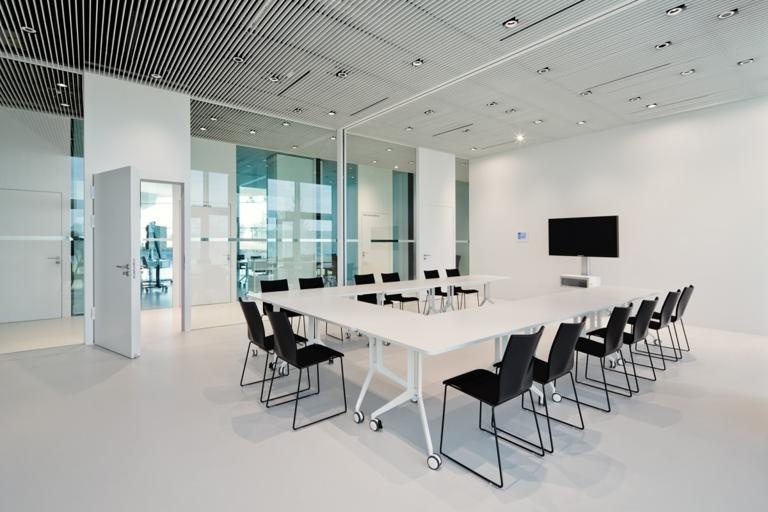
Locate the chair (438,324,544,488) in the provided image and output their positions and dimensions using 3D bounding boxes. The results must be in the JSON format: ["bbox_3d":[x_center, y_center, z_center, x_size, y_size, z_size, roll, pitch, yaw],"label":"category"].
[{"bbox_3d":[1.250,1.595,5.327,1.017,1.559,1.046,-3,7,-36],"label":"chair"}]

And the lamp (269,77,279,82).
[{"bbox_3d":[-1.840,-2.970,7.804,0.146,0.047,0.177,-3,3,-15],"label":"lamp"}]

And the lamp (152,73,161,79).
[{"bbox_3d":[-3.763,-2.989,7.728,0.144,0.053,0.205,-4,4,-26],"label":"lamp"}]

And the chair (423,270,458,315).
[{"bbox_3d":[1.242,0.743,9.844,0.798,1.108,0.780,0,-1,-36],"label":"chair"}]

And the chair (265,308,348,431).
[{"bbox_3d":[-0.999,1.368,5.928,0.900,1.330,0.906,3,9,38],"label":"chair"}]

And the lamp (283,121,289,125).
[{"bbox_3d":[-1.994,-2.730,9.550,0.128,0.044,0.149,-2,3,-4],"label":"lamp"}]

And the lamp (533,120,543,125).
[{"bbox_3d":[3.153,-2.753,9.547,0.177,0.043,0.259,-1,3,13],"label":"lamp"}]

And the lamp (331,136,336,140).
[{"bbox_3d":[-1.127,-2.617,10.328,0.131,0.079,0.050,-3,4,-10],"label":"lamp"}]

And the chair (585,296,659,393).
[{"bbox_3d":[3.335,1.294,6.595,0.527,0.798,1.203,3,4,42],"label":"chair"}]

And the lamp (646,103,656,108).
[{"bbox_3d":[4.960,-2.796,8.645,0.176,0.046,0.241,0,4,35],"label":"lamp"}]

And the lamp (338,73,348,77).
[{"bbox_3d":[-0.687,-3.021,7.718,0.162,0.042,0.153,-2,3,-4],"label":"lamp"}]

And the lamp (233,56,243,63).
[{"bbox_3d":[-2.270,-3.081,7.287,0.155,0.051,0.215,-4,4,-28],"label":"lamp"}]

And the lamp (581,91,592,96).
[{"bbox_3d":[3.554,-2.875,8.190,0.182,0.039,0.160,-1,4,24],"label":"lamp"}]

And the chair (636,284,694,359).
[{"bbox_3d":[4.369,1.060,7.312,0.562,0.963,0.598,-12,0,-33],"label":"chair"}]

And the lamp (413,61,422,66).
[{"bbox_3d":[0.530,-3.084,7.418,0.155,0.048,0.175,-2,3,4],"label":"lamp"}]
